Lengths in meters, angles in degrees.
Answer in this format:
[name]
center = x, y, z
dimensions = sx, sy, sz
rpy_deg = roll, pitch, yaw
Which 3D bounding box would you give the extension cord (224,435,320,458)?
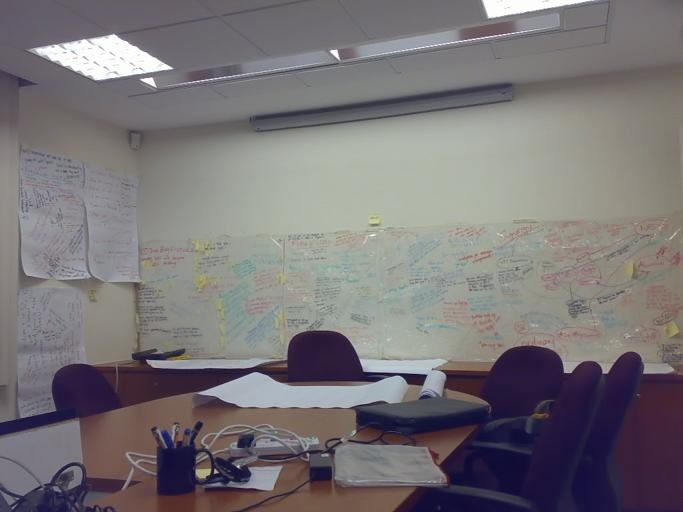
[extension cord]
center = -0.255, 0.707, 1.919
dimensions = 0.356, 0.056, 0.109
rpy_deg = -2, -1, 3

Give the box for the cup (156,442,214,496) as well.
[cup]
center = -0.535, 0.701, 1.746
dimensions = 0.145, 0.157, 0.119
rpy_deg = 1, -3, -11

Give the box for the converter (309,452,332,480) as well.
[converter]
center = -0.073, 0.720, 1.770
dimensions = 0.061, 0.036, 0.060
rpy_deg = 0, 4, 1
